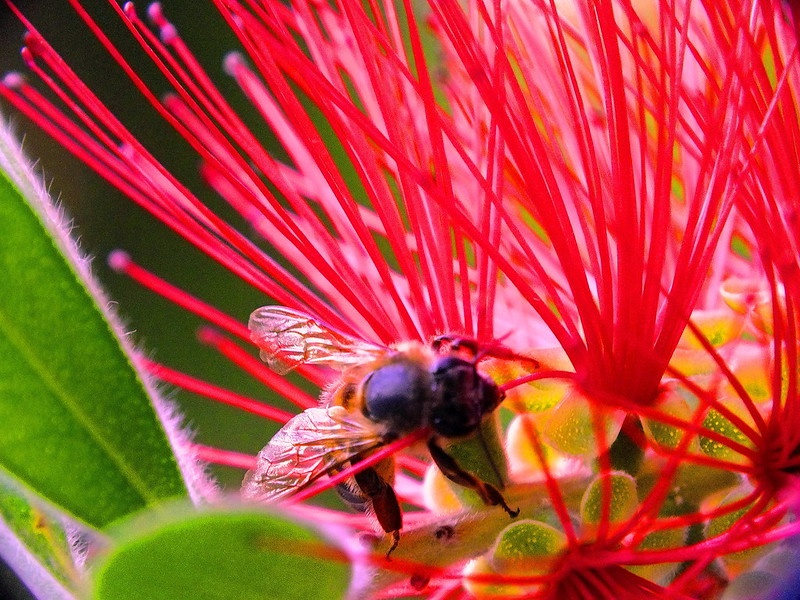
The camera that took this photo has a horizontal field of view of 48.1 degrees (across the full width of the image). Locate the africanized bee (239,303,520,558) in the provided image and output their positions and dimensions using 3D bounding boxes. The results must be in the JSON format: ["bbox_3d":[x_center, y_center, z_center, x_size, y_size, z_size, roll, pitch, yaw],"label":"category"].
[{"bbox_3d":[-0.010,0.107,0.778,0.228,0.094,0.198,-9,40,17],"label":"africanized bee"}]
